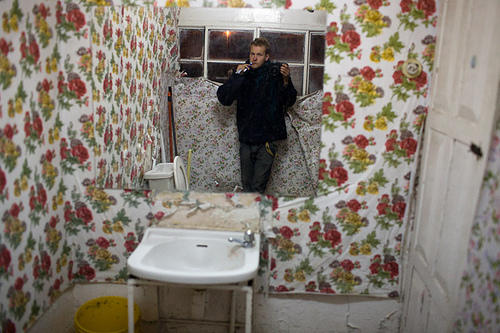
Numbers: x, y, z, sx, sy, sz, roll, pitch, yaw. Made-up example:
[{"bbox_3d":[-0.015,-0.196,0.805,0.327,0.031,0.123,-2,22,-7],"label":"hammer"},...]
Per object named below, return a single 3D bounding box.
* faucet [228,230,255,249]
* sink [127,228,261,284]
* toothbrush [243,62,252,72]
[{"bbox_3d":[-0.055,0.453,2.619,0.166,0.112,0.075,1,2,7],"label":"faucet"},{"bbox_3d":[-0.323,0.534,2.534,0.748,0.230,0.419,0,11,3],"label":"sink"},{"bbox_3d":[-0.017,-0.595,2.519,0.011,0.066,0.013,27,19,-51],"label":"toothbrush"}]
